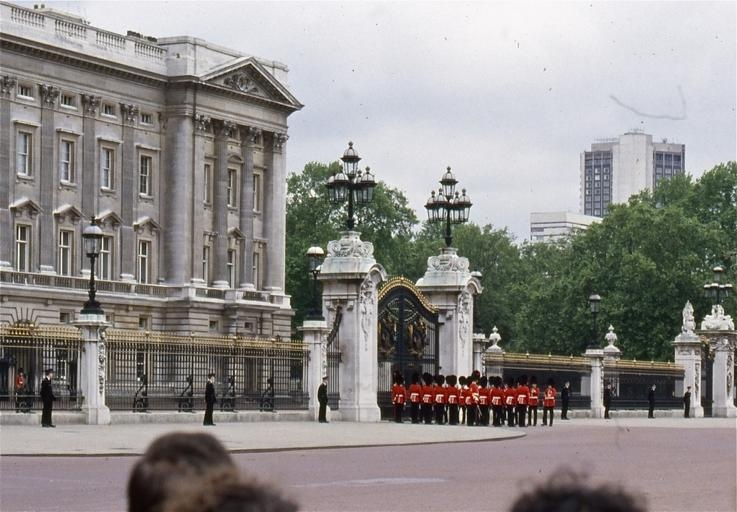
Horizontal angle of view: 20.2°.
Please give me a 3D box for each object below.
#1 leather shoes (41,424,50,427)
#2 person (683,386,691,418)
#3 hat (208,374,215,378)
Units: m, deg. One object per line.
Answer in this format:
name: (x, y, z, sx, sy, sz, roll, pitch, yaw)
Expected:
leather shoes: (-11.348, 5.934, 72.674, 0.281, 0.123, 0.438, 0, -9, -4)
person: (14.647, 6.708, 95.426, 0.333, 1.433, 1.118, -2, -9, 10)
hat: (-5.760, 4.378, 75.279, 0.186, 0.167, 0.146, -1, 0, 23)
